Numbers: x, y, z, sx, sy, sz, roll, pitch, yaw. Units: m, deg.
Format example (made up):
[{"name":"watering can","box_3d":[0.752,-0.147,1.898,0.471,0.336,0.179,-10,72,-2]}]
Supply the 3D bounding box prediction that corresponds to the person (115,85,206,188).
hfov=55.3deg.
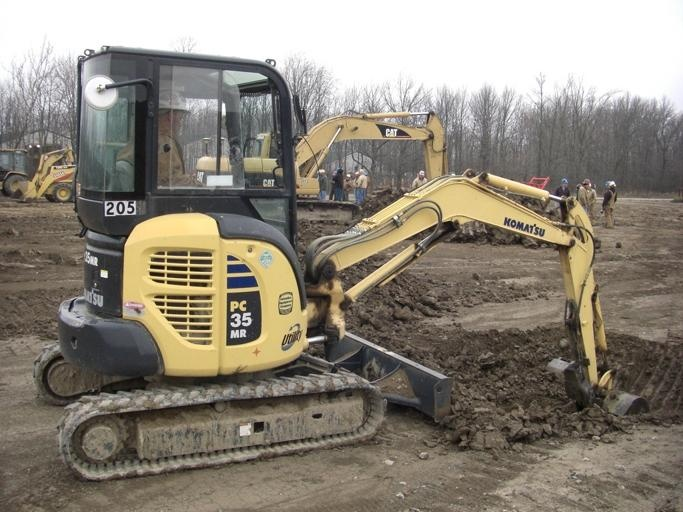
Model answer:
[{"name":"person","box_3d":[-1.887,-1.269,6.855,0.859,1.205,0.746,10,4,-33]}]

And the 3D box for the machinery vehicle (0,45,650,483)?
[{"name":"machinery vehicle","box_3d":[-0.108,-0.315,9.589,7.672,5.495,3.786,-4,8,-21]}]
